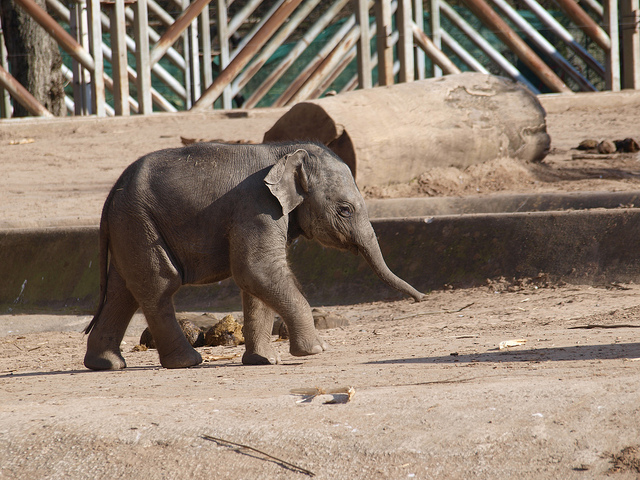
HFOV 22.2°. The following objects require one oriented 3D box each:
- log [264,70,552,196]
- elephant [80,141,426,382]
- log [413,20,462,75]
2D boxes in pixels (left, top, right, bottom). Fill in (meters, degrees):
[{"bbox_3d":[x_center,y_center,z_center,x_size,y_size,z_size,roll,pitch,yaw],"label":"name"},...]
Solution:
[{"bbox_3d":[1.701,-1.517,19.348,2.463,1.285,0.987,-11,-22,-11],"label":"log"},{"bbox_3d":[-0.840,-0.033,15.254,2.366,2.408,2.831,-15,25,-35],"label":"elephant"},{"bbox_3d":[1.719,-2.821,24.095,0.654,0.725,0.684,-1,6,4],"label":"log"}]
